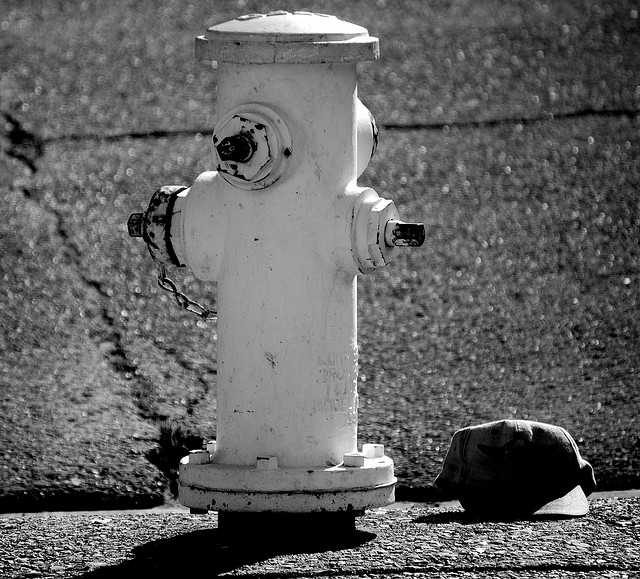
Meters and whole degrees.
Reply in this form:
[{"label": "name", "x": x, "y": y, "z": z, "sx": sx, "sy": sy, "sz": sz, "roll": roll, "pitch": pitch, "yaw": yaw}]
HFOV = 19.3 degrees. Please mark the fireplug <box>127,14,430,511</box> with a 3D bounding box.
[{"label": "fireplug", "x": -0.128, "y": 0.134, "z": 5.888, "sx": 0.830, "sy": 1.686, "sz": 1.090, "roll": -1, "pitch": 41, "yaw": -8}]
